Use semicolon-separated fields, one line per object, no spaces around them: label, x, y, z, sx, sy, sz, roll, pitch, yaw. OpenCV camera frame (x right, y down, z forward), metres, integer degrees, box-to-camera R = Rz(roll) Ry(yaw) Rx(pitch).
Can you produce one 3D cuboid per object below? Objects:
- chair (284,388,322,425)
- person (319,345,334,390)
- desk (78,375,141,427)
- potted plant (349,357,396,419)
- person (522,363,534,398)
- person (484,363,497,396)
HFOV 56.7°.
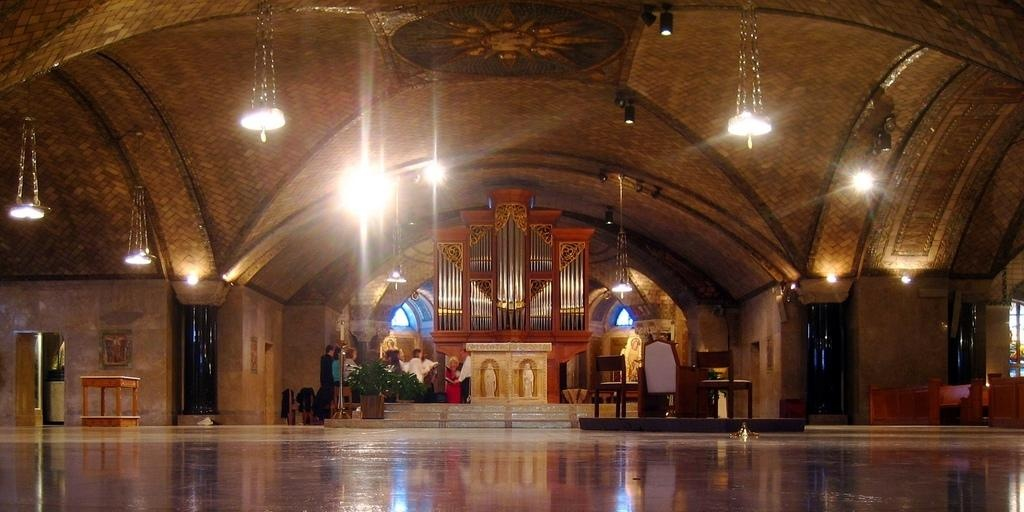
chair;-7.253;5.117;32.659;1.101;1.395;2.268;6;-16;-24
person;-5.619;3.369;29.051;0.352;1.249;1.086;2;-15;-9
desk;-11.679;4.247;27.635;1.743;1.119;1.718;-10;-13;42
potted plant;-3.513;3.543;24.669;1.587;1.357;1.467;2;-17;-3
person;0.501;3.672;28.031;0.331;0.984;0.144;-1;-15;0
person;-0.631;3.684;27.965;0.355;0.953;0.148;0;-15;-2
